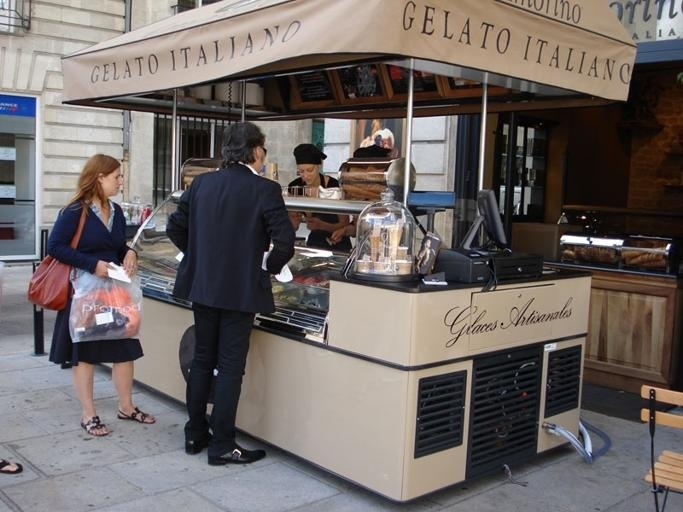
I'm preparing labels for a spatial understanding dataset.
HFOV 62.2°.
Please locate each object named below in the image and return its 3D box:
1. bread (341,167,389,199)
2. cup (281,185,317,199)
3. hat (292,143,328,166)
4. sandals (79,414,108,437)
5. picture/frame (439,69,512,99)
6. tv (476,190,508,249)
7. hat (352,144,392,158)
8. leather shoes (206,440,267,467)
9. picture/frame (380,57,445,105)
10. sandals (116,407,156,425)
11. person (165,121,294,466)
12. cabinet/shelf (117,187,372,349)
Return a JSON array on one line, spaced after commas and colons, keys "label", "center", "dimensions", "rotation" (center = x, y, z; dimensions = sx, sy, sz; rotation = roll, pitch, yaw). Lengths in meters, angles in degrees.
[{"label": "bread", "center": [0.192, -0.506, 4.159], "dimensions": [0.319, 0.236, 0.235], "rotation": [5, -2, 33]}, {"label": "cup", "center": [-0.369, -0.578, 5.054], "dimensions": [0.259, 0.092, 0.189], "rotation": [2, 4, 18]}, {"label": "hat", "center": [-0.266, -0.909, 5.121], "dimensions": [0.236, 0.123, 0.235], "rotation": [3, 3, 24]}, {"label": "sandals", "center": [-1.829, 1.235, 4.174], "dimensions": [0.092, 0.099, 0.254], "rotation": [0, 2, -41]}, {"label": "picture/frame", "center": [1.086, -1.494, 4.976], "dimensions": [0.435, 0.101, 0.405], "rotation": [6, 9, 42]}, {"label": "tv", "center": [0.995, -0.245, 3.747], "dimensions": [0.201, 0.391, 0.345], "rotation": [4, 7, 14]}, {"label": "hat", "center": [0.287, -0.885, 4.833], "dimensions": [0.247, 0.098, 0.245], "rotation": [-6, 11, -39]}, {"label": "leather shoes", "center": [-0.694, 1.317, 3.843], "dimensions": [0.409, 0.170, 0.134], "rotation": [-4, 5, -22]}, {"label": "picture/frame", "center": [0.699, -1.635, 5.284], "dimensions": [0.544, 0.358, 0.736], "rotation": [2, 7, -5]}, {"label": "sandals", "center": [-1.591, 1.227, 4.378], "dimensions": [0.258, 0.102, 0.118], "rotation": [3, 7, 7]}, {"label": "person", "center": [-0.749, 0.241, 3.750], "dimensions": [0.893, 2.240, 0.387], "rotation": [5, 7, 25]}, {"label": "cabinet/shelf", "center": [-0.771, 0.076, 4.557], "dimensions": [2.295, 0.944, 1.180], "rotation": [2, -5, 25]}]
